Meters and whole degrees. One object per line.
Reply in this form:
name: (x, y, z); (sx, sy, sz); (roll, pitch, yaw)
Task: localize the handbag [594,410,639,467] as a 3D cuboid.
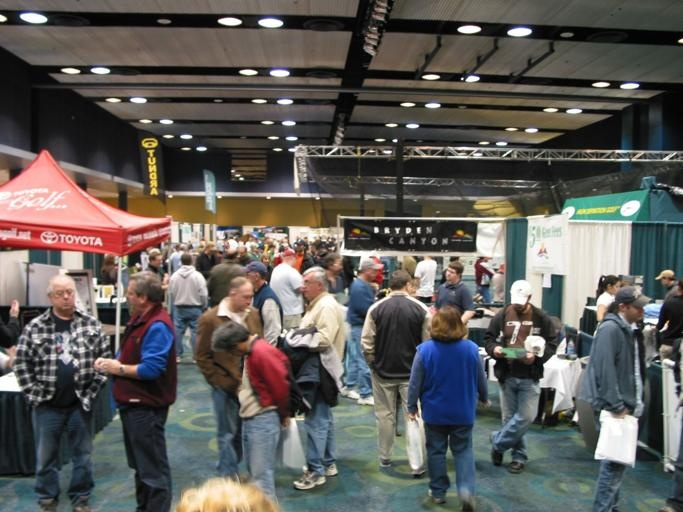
handbag: (2.497, 1.657, 5.248); (0.314, 0.477, 0.250); (4, 8, 22)

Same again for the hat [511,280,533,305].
hat: (2.059, 0.400, 6.622); (0.220, 0.149, 0.319); (8, 27, 22)

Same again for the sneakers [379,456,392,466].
sneakers: (0.491, 2.340, 6.591); (0.080, 0.062, 0.161); (1, 1, 1)

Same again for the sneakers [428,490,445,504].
sneakers: (0.962, 2.434, 5.857); (0.085, 0.083, 0.200); (-1, 7, -10)

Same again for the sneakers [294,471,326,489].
sneakers: (-0.327, 2.359, 6.133); (0.384, 0.140, 0.136); (1, 0, -26)

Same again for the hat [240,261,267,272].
hat: (-0.999, 0.129, 6.672); (0.206, 0.091, 0.135); (16, 1, 3)

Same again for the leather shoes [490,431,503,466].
leather shoes: (1.773, 2.228, 6.694); (0.149, 0.361, 0.158); (-1, -3, -1)

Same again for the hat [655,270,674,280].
hat: (5.348, 0.300, 9.519); (0.391, 0.168, 0.237); (2, 3, 23)

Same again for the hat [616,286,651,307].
hat: (2.767, 0.383, 5.491); (0.278, 0.120, 0.190); (-3, 2, 12)
